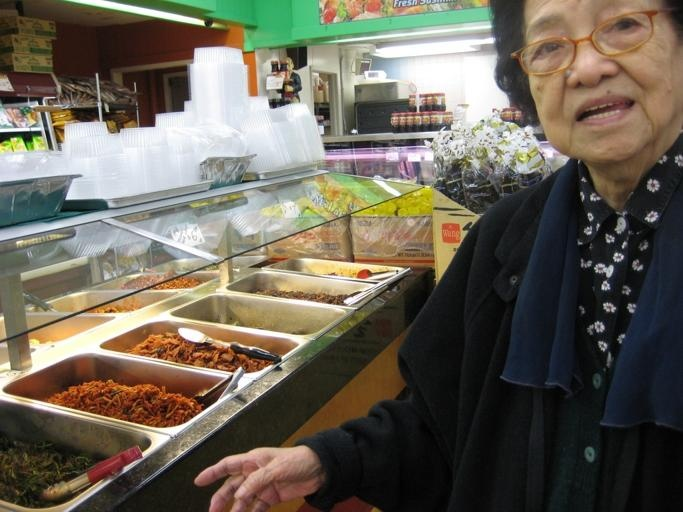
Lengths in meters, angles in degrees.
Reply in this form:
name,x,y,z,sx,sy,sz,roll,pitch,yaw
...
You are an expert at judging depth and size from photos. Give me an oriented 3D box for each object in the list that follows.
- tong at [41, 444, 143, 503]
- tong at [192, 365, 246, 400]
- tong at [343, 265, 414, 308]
name,x,y,z,sx,sy,sz,roll,pitch,yaw
tong,-0.591,0.527,1.168,0.165,0.029,0.039,-24,-23,-4
tong,-0.376,0.404,1.511,0.140,0.024,0.087,-35,15,19
tong,0.154,0.140,2.366,0.152,0.053,0.276,-14,8,38
